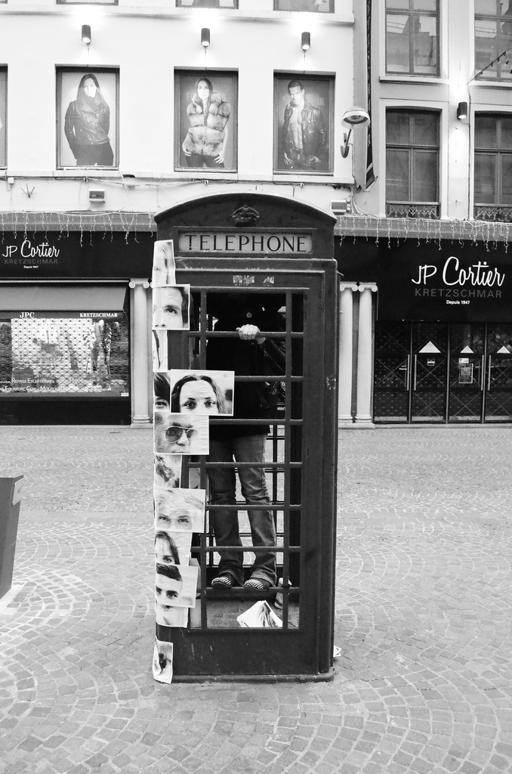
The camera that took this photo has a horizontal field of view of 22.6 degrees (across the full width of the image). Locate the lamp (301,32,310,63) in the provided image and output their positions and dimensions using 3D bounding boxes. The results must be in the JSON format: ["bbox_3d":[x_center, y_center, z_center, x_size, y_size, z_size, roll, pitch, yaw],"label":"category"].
[{"bbox_3d":[0.782,-5.260,19.867,0.139,0.418,0.246,0,11,6],"label":"lamp"}]

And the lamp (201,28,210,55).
[{"bbox_3d":[-0.755,-5.258,19.578,0.153,0.356,0.258,-2,12,-3],"label":"lamp"}]

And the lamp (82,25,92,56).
[{"bbox_3d":[-2.537,-5.225,19.374,0.150,0.418,0.277,-2,12,-4],"label":"lamp"}]

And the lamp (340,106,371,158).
[{"bbox_3d":[1.473,-3.900,19.115,0.279,0.464,0.761,1,-23,-2],"label":"lamp"}]

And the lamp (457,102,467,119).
[{"bbox_3d":[3.257,-4.318,20.249,0.179,0.308,0.180,-2,11,-6],"label":"lamp"}]
